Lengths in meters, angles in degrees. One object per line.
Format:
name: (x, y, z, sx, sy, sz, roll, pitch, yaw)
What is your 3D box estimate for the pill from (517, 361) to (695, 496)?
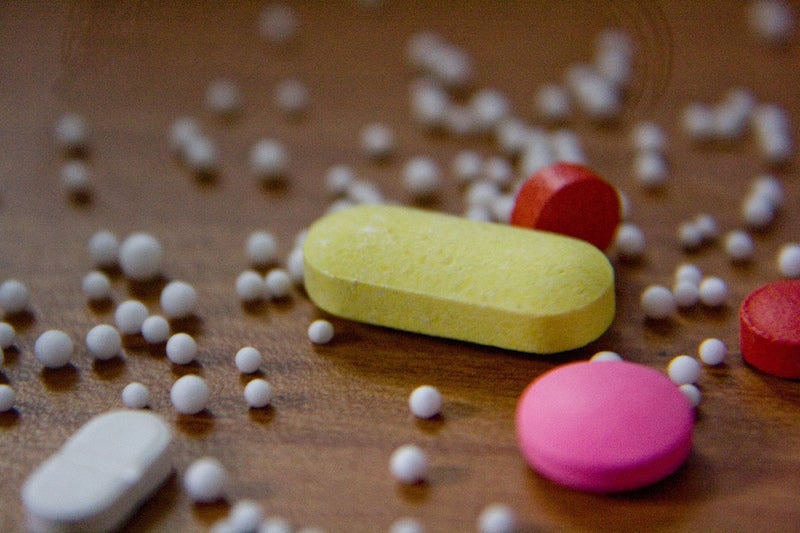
pill: (0.281, 0.217, 1.264, 0.229, 0.092, 0.264, -4, 25, 14)
